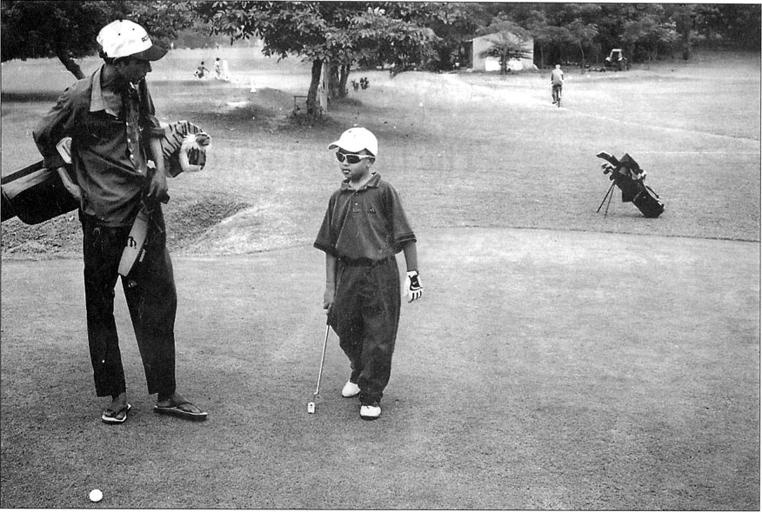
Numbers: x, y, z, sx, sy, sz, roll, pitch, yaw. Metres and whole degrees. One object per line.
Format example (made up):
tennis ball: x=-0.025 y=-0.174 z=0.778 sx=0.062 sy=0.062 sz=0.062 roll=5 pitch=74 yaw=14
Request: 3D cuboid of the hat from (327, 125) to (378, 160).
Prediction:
hat: x=-0.202 y=-0.845 z=4.821 sx=0.345 sy=0.211 sz=0.265 roll=17 pitch=4 yaw=-32

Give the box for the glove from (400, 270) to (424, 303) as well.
glove: x=0.260 y=0.273 z=4.962 sx=0.209 sy=0.290 sz=0.132 roll=1 pitch=6 yaw=-4

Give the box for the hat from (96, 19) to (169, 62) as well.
hat: x=-1.778 y=-1.524 z=4.396 sx=0.503 sy=0.277 sz=0.381 roll=-1 pitch=22 yaw=3

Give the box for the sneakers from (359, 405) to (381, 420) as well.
sneakers: x=-0.074 y=1.199 z=4.802 sx=0.185 sy=0.105 sz=0.113 roll=-4 pitch=17 yaw=-15

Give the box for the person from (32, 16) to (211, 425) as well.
person: x=-1.866 y=-0.200 z=4.421 sx=0.837 sy=2.807 sz=0.809 roll=-8 pitch=17 yaw=-28

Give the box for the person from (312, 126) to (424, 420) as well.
person: x=-0.118 y=0.106 z=4.895 sx=0.579 sy=2.141 sz=0.751 roll=-12 pitch=20 yaw=-38
